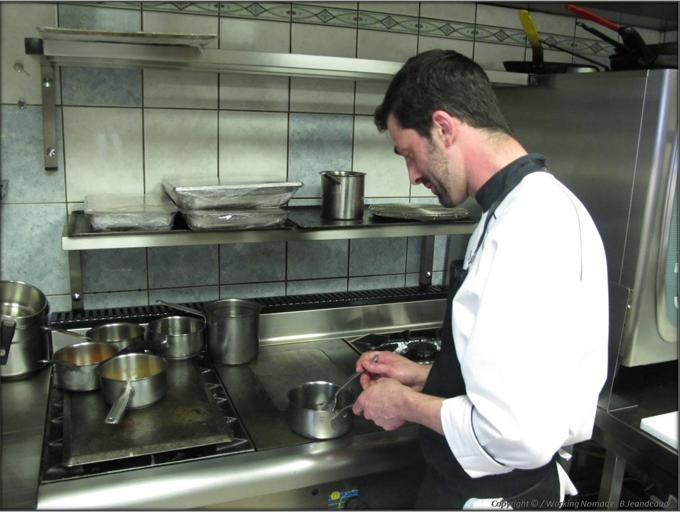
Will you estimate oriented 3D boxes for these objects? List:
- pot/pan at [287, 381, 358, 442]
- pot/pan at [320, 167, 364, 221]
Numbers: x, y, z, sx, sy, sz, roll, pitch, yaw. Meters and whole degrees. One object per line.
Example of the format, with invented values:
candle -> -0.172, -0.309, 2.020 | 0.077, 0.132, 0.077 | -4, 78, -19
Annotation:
pot/pan -> -0.052, 0.491, 1.927 | 0.233, 0.080, 0.134 | -2, 7, -45
pot/pan -> 0.013, -0.226, 2.272 | 0.164, 0.158, 0.204 | 11, 16, 41
